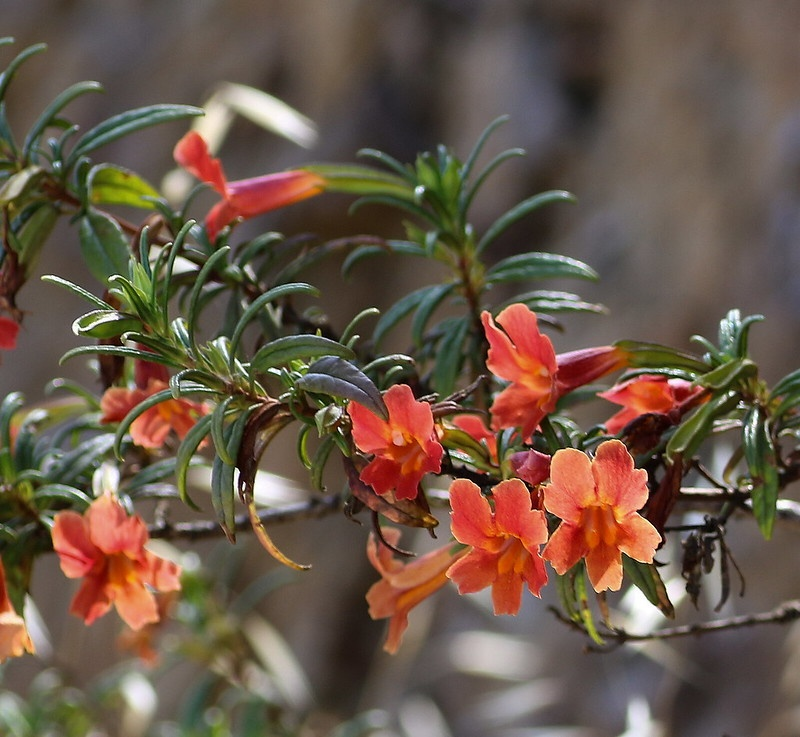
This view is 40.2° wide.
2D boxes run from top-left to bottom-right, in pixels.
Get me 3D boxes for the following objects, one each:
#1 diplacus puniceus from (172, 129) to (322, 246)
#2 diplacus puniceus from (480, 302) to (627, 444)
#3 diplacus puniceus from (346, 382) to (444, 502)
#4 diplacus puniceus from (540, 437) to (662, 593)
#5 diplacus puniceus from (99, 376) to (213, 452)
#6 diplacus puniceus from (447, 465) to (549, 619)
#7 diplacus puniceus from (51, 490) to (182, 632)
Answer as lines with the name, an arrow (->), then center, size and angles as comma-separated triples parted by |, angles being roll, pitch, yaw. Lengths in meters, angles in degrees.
diplacus puniceus -> -0.307, -0.358, 2.257 | 0.331, 0.221, 0.074 | -8, 29, -40
diplacus puniceus -> 0.270, 0.002, 1.957 | 0.249, 0.260, 0.231 | 5, 52, 15
diplacus puniceus -> -0.013, 0.144, 1.861 | 0.094, 0.221, 0.189 | -21, 11, -32
diplacus puniceus -> 0.339, 0.248, 1.844 | 0.194, 0.178, 0.183 | 2, 51, 13
diplacus puniceus -> -0.515, 0.098, 2.244 | 0.166, 0.093, 0.187 | 11, 48, -23
diplacus puniceus -> 0.164, 0.303, 1.866 | 0.168, 0.191, 0.165 | 1, 50, 11
diplacus puniceus -> -0.531, 0.371, 2.012 | 0.252, 0.106, 0.228 | 26, 72, 3
